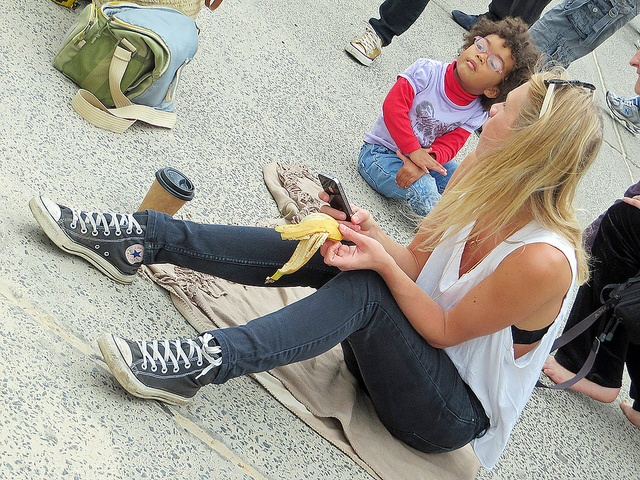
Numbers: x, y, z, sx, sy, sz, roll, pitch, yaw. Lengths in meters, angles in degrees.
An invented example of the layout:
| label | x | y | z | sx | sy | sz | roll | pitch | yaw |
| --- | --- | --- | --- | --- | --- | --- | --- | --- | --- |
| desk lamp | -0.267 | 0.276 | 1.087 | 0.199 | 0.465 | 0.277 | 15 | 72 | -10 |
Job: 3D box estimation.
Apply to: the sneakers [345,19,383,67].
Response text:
| label | x | y | z | sx | sy | sz | roll | pitch | yaw |
| --- | --- | --- | --- | --- | --- | --- | --- | --- | --- |
| sneakers | 0.279 | -1.251 | 3.024 | 0.143 | 0.143 | 0.325 | 46 | 15 | 0 |

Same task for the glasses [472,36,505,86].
| label | x | y | z | sx | sy | sz | roll | pitch | yaw |
| --- | --- | --- | --- | --- | --- | --- | --- | --- | --- |
| glasses | 0.776 | -0.841 | 2.226 | 0.150 | 0.052 | 0.158 | 39 | -9 | 22 |

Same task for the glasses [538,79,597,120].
| label | x | y | z | sx | sy | sz | roll | pitch | yaw |
| --- | --- | --- | --- | --- | --- | --- | --- | --- | --- |
| glasses | 0.624 | -0.371 | 1.225 | 0.134 | 0.138 | 0.037 | 3 | 12 | -19 |
